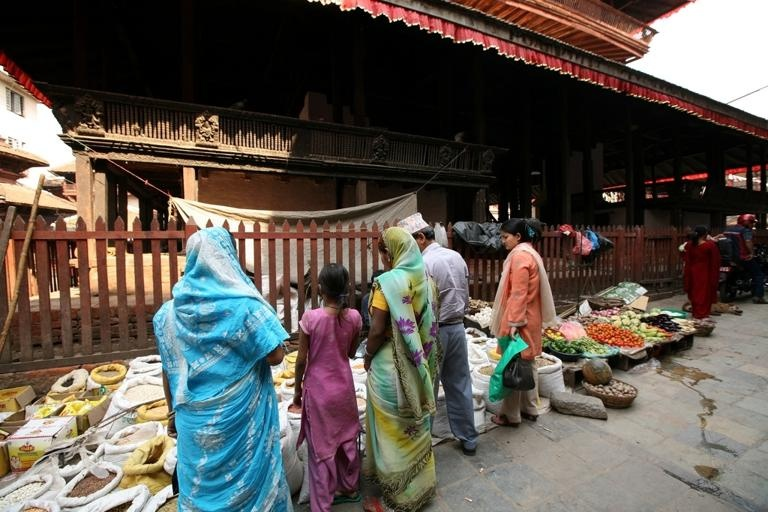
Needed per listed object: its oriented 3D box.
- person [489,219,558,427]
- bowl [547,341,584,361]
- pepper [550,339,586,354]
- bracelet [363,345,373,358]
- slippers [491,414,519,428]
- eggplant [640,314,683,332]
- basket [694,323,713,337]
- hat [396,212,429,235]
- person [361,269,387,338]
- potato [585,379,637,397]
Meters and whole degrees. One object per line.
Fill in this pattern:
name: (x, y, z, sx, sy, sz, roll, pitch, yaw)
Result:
person: (2.435, 1.151, 9.541, 1.122, 3.632, 0.740, -2, 2, 16)
bowl: (3.492, 1.843, 10.576, 0.430, 0.161, 0.365, 6, 7, 12)
pepper: (3.580, 1.792, 10.642, 0.310, 0.127, 0.337, -5, 6, -11)
bracelet: (-0.262, 1.525, 8.556, 0.113, 0.157, 0.091, 1, -2, 3)
slippers: (2.104, 2.889, 9.523, 0.404, 0.115, 0.204, 4, 3, 12)
eggplant: (6.032, 1.456, 11.734, 0.467, 0.142, 0.408, 0, 8, -28)
basket: (7.252, 1.660, 12.292, 0.414, 0.207, 0.476, -1, 0, 11)
hat: (0.463, -0.576, 9.398, 0.447, 0.415, 0.118, -36, -12, -28)
person: (-0.172, 0.953, 10.440, 0.389, 1.229, 0.376, 5, 31, 3)
potato: (4.149, 2.442, 9.901, 0.401, 0.111, 0.401, -1, 2, -25)
